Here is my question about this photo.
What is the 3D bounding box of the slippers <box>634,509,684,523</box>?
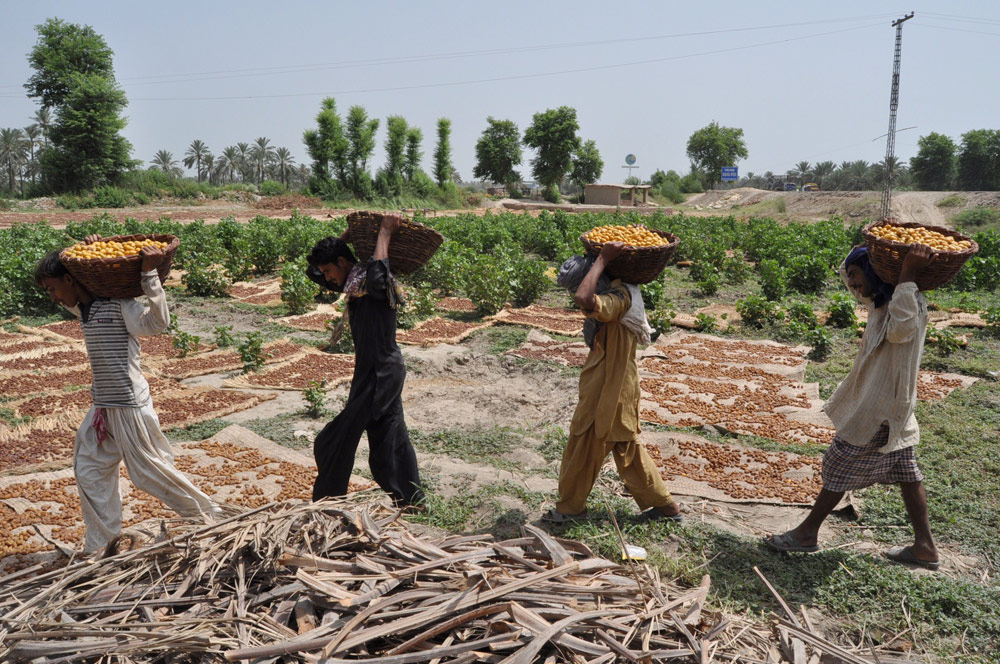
[{"bbox_3d":[1.812,2.081,11.627,0.540,0.201,0.172,-4,5,15],"label":"slippers"}]

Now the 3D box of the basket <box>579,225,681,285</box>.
[{"bbox_3d":[1.511,-0.944,11.677,0.877,0.382,0.801,4,28,-1],"label":"basket"}]

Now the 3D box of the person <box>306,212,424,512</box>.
[{"bbox_3d":[-1.504,0.338,11.567,1.260,3.258,1.065,0,11,-10],"label":"person"}]

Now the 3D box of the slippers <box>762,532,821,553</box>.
[{"bbox_3d":[3.200,2.321,11.288,0.542,0.154,0.218,2,0,5],"label":"slippers"}]

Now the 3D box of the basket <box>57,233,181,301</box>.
[{"bbox_3d":[-4.209,-0.673,10.942,0.904,0.375,0.864,13,10,26],"label":"basket"}]

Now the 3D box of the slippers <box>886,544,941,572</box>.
[{"bbox_3d":[4.491,2.414,11.035,0.544,0.379,0.234,7,-3,30],"label":"slippers"}]

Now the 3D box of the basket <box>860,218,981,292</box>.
[{"bbox_3d":[4.527,-0.766,11.076,1.185,0.551,1.164,11,21,20],"label":"basket"}]

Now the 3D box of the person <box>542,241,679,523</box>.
[{"bbox_3d":[1.270,0.594,11.403,1.252,3.115,0.506,3,11,6],"label":"person"}]

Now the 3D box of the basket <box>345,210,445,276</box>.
[{"bbox_3d":[-1.241,-1.091,12.279,1.322,0.544,1.283,11,2,40],"label":"basket"}]

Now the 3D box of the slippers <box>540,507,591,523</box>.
[{"bbox_3d":[0.728,2.061,11.522,0.481,0.129,0.193,2,0,-7],"label":"slippers"}]
